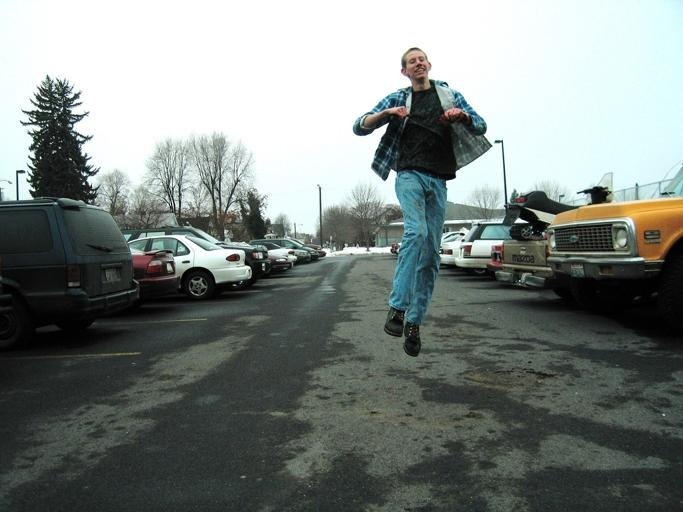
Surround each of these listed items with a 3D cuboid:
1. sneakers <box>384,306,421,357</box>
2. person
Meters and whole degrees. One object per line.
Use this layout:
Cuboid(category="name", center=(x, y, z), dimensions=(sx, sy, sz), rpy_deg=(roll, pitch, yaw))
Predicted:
Cuboid(category="sneakers", center=(0.494, 0.611, 4.735), dimensions=(0.191, 0.238, 0.565), rpy_deg=(0, 23, -24))
Cuboid(category="person", center=(0.662, -0.624, 4.794), dimensions=(1.168, 2.717, 0.991), rpy_deg=(2, -14, 4))
